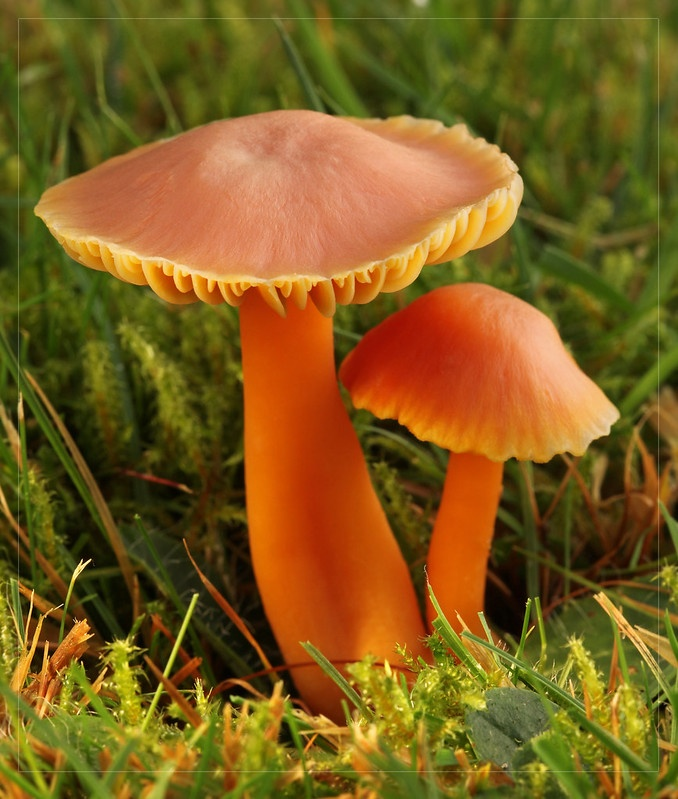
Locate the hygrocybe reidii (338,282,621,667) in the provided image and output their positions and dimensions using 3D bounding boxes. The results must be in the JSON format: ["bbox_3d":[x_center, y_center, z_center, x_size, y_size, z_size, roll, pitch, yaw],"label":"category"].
[{"bbox_3d":[0.197,0.075,1.199,0.301,0.423,0.316,-18,41,-17],"label":"hygrocybe reidii"}]
